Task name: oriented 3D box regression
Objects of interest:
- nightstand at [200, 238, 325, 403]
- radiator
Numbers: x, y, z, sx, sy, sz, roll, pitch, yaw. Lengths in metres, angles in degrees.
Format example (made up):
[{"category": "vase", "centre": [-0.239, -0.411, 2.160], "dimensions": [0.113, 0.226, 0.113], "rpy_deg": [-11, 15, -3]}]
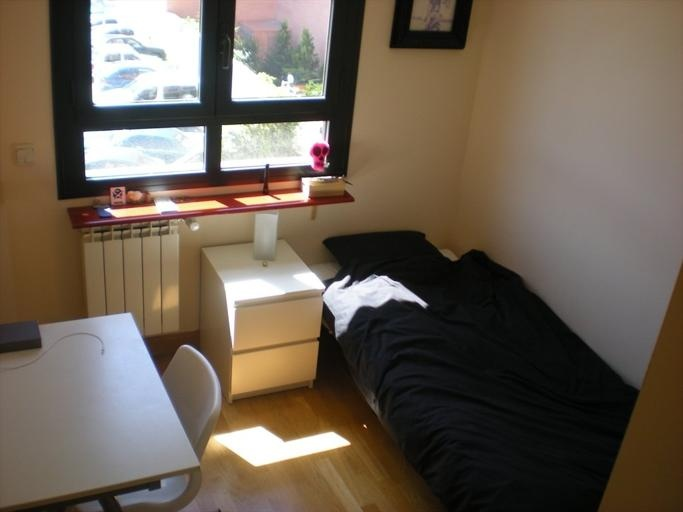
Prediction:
[{"category": "nightstand", "centre": [-0.522, 0.308, 3.390], "dimensions": [0.665, 0.836, 0.917], "rpy_deg": [-4, 35, -19]}, {"category": "radiator", "centre": [-1.181, 0.115, 2.934], "dimensions": [0.523, 0.732, 0.120], "rpy_deg": [-10, 31, -21]}]
